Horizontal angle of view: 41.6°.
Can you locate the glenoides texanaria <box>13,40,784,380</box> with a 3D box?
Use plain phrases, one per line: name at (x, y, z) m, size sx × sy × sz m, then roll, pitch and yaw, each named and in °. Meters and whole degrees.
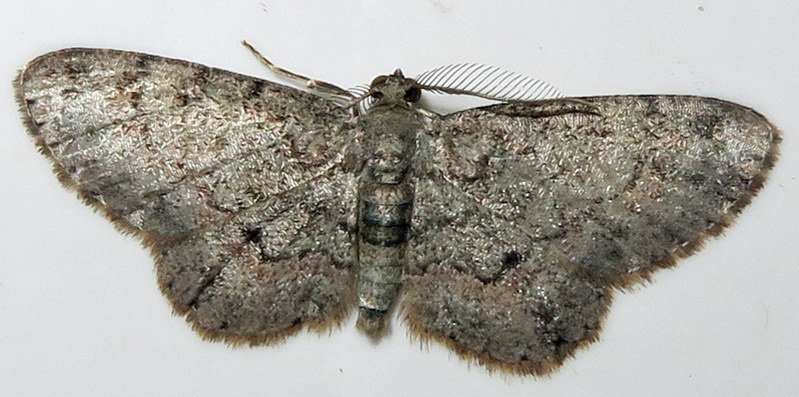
glenoides texanaria at (-0.130, 0.018, 7.956) m, size 5.791 × 0.555 × 2.394 m, roll 9°, pitch 61°, yaw -5°
